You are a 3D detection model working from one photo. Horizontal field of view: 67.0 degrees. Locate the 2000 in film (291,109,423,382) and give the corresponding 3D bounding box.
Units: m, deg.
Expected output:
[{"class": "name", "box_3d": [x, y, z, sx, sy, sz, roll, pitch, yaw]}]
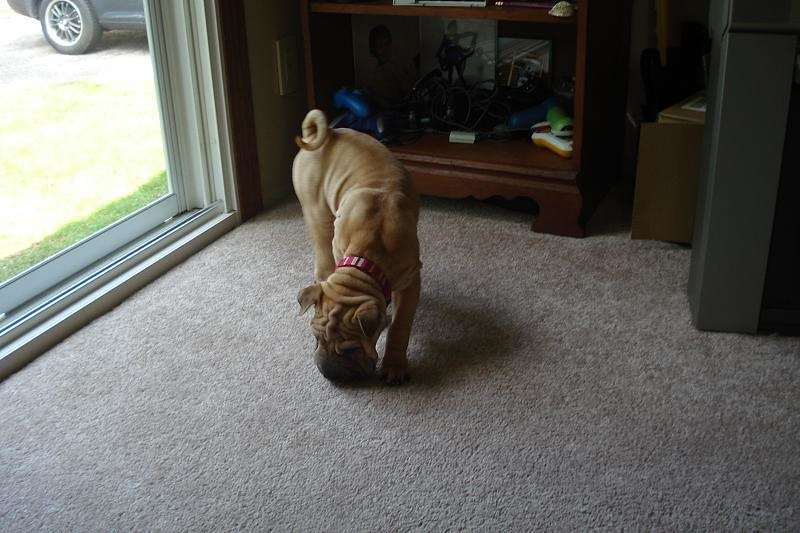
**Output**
[{"class": "2000 in film", "box_3d": [-0.113, -0.130, 1.820, 0.305, 0.442, 0.881, -5, 52, -6]}]
